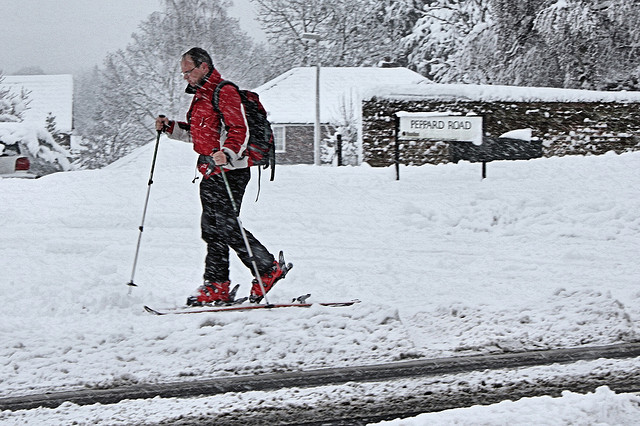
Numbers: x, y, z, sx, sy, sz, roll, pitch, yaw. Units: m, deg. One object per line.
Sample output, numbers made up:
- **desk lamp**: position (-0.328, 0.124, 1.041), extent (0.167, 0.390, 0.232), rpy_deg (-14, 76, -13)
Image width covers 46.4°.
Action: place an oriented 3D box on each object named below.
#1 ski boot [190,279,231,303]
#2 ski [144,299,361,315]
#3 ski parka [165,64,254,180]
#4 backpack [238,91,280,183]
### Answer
- **ski boot**: position (-1.377, 0.978, 9.395), extent (0.497, 0.214, 0.246), rpy_deg (4, -4, -8)
- **ski**: position (-0.814, 1.163, 9.204), extent (2.659, 0.117, 0.282), rpy_deg (0, 4, -7)
- **ski parka**: position (-1.370, -1.129, 9.308), extent (1.046, 1.397, 0.496), rpy_deg (4, 6, 40)
- **backpack**: position (-0.760, -0.995, 9.287), extent (0.350, 1.026, 0.546), rpy_deg (2, 5, 19)
